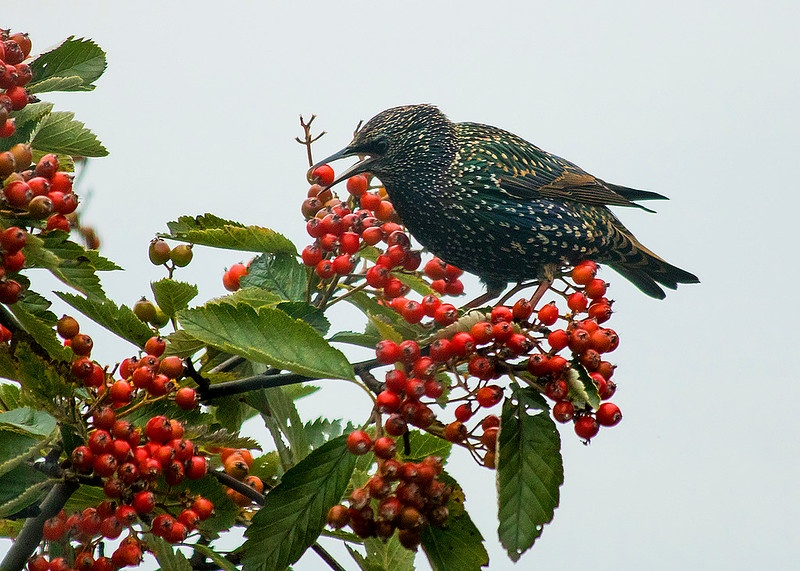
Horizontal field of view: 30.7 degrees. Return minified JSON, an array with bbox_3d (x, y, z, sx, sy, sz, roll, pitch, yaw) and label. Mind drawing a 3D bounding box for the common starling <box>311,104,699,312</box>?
[{"bbox_3d":[0.335,-0.222,4.561,0.395,1.256,0.660,166,-79,-64],"label":"common starling"}]
